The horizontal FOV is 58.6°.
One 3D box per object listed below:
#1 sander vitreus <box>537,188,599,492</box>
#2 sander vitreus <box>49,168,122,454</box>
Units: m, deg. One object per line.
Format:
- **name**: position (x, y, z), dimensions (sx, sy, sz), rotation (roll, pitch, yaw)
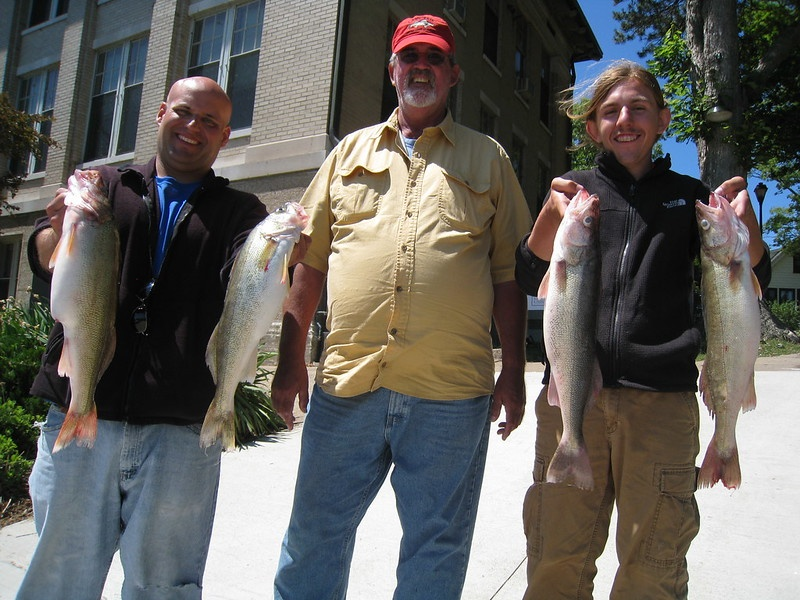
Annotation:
- **sander vitreus**: position (0.903, 0.180, 3.789), dimensions (0.334, 1.567, 0.202), rotation (1, -4, 17)
- **sander vitreus**: position (-1.615, 0.038, 3.635), dimensions (0.322, 1.404, 0.160), rotation (3, -4, -24)
